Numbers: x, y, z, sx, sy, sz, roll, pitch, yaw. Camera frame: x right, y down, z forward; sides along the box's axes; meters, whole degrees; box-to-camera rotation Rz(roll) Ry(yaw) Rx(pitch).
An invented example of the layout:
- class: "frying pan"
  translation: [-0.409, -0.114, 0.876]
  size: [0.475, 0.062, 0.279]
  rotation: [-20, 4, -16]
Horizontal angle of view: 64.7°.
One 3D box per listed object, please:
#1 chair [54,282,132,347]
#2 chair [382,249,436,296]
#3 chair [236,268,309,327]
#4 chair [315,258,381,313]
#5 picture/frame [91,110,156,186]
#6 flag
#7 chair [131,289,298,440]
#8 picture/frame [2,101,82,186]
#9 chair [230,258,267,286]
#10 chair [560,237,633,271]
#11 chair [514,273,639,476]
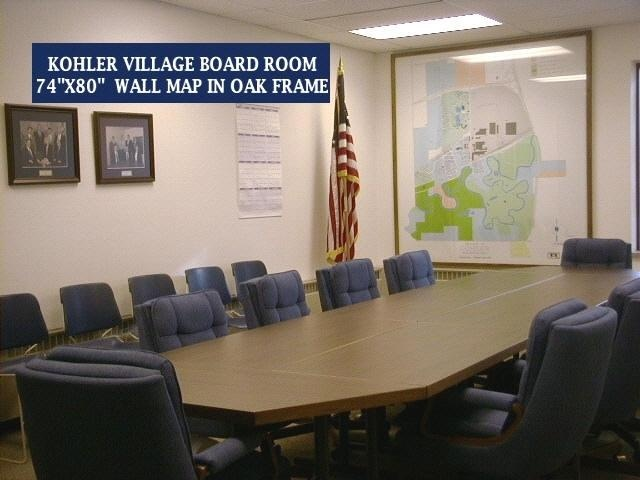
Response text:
- class: "chair"
  translation: [-2.033, 0.659, 4.449]
  size: [0.454, 0.602, 0.503]
  rotation: [-6, -5, 37]
- class: "chair"
  translation: [0.892, 0.310, 4.874]
  size: [0.411, 0.479, 0.436]
  rotation: [-5, 1, -44]
- class: "chair"
  translation: [-0.345, 0.427, 3.878]
  size: [0.375, 0.554, 0.388]
  rotation: [-16, 27, -37]
- class: "chair"
  translation: [0.268, 0.352, 4.379]
  size: [0.436, 0.662, 0.425]
  rotation: [-3, 1, 42]
- class: "picture/frame"
  translation: [-1.939, -0.900, 4.904]
  size: [0.057, 0.820, 0.695]
  rotation: [-1, 3, 43]
- class: "flag"
  translation: [0.269, -1.027, 6.739]
  size: [0.470, 2.646, 0.299]
  rotation: [-4, 6, 1]
- class: "chair"
  translation: [-0.587, 0.759, 2.984]
  size: [0.636, 0.925, 0.643]
  rotation: [-8, -4, 29]
- class: "picture/frame"
  translation: [-2.453, -0.836, 4.398]
  size: [0.061, 0.900, 0.727]
  rotation: [-1, 0, 42]
- class: "chair"
  translation: [-0.848, 0.343, 5.770]
  size: [0.301, 0.413, 0.328]
  rotation: [0, -8, -43]
- class: "chair"
  translation: [3.071, 0.157, 5.579]
  size: [0.502, 0.530, 0.386]
  rotation: [1, -2, 27]
- class: "chair"
  translation: [1.245, 0.531, 2.424]
  size: [0.631, 0.921, 0.645]
  rotation: [-4, 2, -38]
